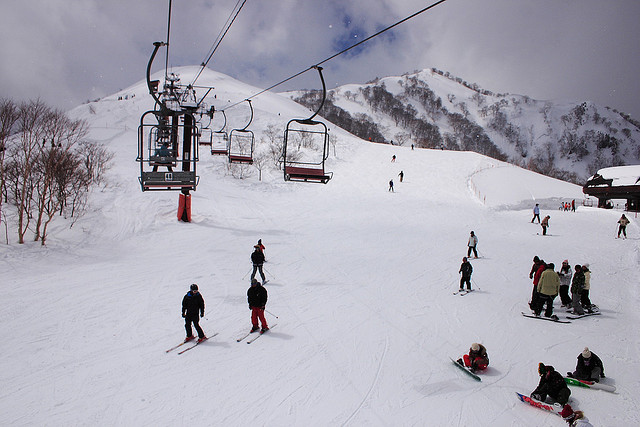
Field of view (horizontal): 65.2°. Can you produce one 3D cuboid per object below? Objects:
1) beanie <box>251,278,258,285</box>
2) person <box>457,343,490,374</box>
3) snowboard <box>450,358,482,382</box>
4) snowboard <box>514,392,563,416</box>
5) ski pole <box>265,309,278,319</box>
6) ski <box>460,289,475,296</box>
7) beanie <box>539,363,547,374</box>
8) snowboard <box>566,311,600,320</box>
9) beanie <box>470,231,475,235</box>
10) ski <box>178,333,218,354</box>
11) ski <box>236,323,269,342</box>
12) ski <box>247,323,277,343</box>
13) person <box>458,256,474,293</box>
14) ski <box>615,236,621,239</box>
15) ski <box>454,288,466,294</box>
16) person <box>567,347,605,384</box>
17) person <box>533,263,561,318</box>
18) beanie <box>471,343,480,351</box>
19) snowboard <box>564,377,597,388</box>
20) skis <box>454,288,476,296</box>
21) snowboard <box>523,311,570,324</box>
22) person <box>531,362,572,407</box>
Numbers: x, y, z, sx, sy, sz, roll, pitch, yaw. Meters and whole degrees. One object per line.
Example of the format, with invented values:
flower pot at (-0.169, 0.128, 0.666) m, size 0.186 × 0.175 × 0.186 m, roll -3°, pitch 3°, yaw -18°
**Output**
beanie at (-3.057, 3.217, 23.439) m, size 0.288 × 0.251 × 0.368 m, roll -3°, pitch 15°, yaw -14°
person at (6.831, 6.287, 22.046) m, size 1.209 × 1.200 × 1.060 m, roll -3°, pitch 9°, yaw -10°
snowboard at (6.398, 6.739, 21.973) m, size 1.574 × 0.230 × 0.372 m, roll 30°, pitch -8°, yaw 45°
snowboard at (9.131, 7.938, 20.770) m, size 2.034 × 0.249 × 0.313 m, roll 19°, pitch 9°, yaw 19°
ski pole at (-2.419, 5.038, 24.978) m, size 0.657 × 0.057 × 0.096 m, roll 39°, pitch 11°, yaw 21°
ski at (7.868, 4.251, 26.826) m, size 0.717 × 0.104 × 0.059 m, roll -18°, pitch -21°, yaw 3°
beanie at (9.324, 6.512, 20.979) m, size 0.329 × 0.502 × 0.284 m, roll 9°, pitch 17°, yaw 30°
snowboard at (13.005, 5.038, 24.733) m, size 1.755 × 0.200 × 0.269 m, roll -3°, pitch 15°, yaw -12°
beanie at (9.408, 1.200, 30.991) m, size 0.253 × 0.279 × 0.230 m, roll 8°, pitch -16°, yaw -41°
ski at (-5.618, 6.049, 23.103) m, size 1.389 × 0.161 × 0.155 m, roll -33°, pitch 10°, yaw -18°
ski at (-3.158, 5.675, 23.724) m, size 0.206 × 0.148 × 1.860 m, roll 25°, pitch 33°, yaw 33°
ski at (-2.736, 5.701, 23.682) m, size 1.378 × 0.195 × 0.152 m, roll -28°, pitch 53°, yaw -26°
person at (7.875, 3.283, 26.919) m, size 0.687 × 1.831 × 0.973 m, roll 5°, pitch 15°, yaw 18°
ski at (21.321, 1.747, 35.891) m, size 0.108 × 0.131 × 0.327 m, roll 0°, pitch -9°, yaw -2°
ski at (7.526, 4.202, 26.972) m, size 0.521 × 0.064 × 0.092 m, roll -27°, pitch 31°, yaw 13°
person at (11.422, 6.481, 21.539) m, size 1.296 × 1.475 × 1.016 m, roll -8°, pitch -1°, yaw 18°
person at (11.123, 3.826, 24.610) m, size 0.996 × 2.570 × 0.864 m, roll 7°, pitch 16°, yaw 24°
beanie at (6.840, 5.845, 22.108) m, size 0.292 × 0.254 × 0.417 m, roll 1°, pitch 15°, yaw 1°
snowboard at (11.110, 7.215, 21.319) m, size 0.936 × 0.262 × 0.188 m, roll 14°, pitch 47°, yaw 36°
skis at (8.050, 4.200, 26.954) m, size 0.929 × 0.038 × 0.265 m, roll -19°, pitch 24°, yaw -26°
snowboard at (11.029, 5.174, 24.504) m, size 1.522 × 0.182 × 0.286 m, roll 7°, pitch -11°, yaw 35°
person at (9.846, 7.035, 21.156) m, size 1.511 × 1.654 × 1.169 m, roll 2°, pitch 20°, yaw 37°
